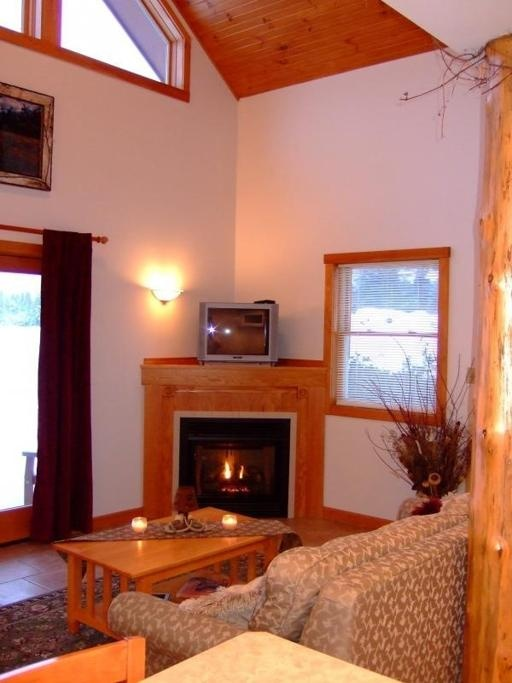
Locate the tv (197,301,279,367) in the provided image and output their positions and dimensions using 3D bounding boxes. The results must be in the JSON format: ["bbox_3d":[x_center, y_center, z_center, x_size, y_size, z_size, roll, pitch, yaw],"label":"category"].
[{"bbox_3d":[-0.147,-0.056,4.923,0.831,0.717,0.459,1,3,1],"label":"tv"}]

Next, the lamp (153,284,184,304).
[{"bbox_3d":[-0.749,-0.397,4.854,0.160,0.165,0.364,-1,-2,26],"label":"lamp"}]
